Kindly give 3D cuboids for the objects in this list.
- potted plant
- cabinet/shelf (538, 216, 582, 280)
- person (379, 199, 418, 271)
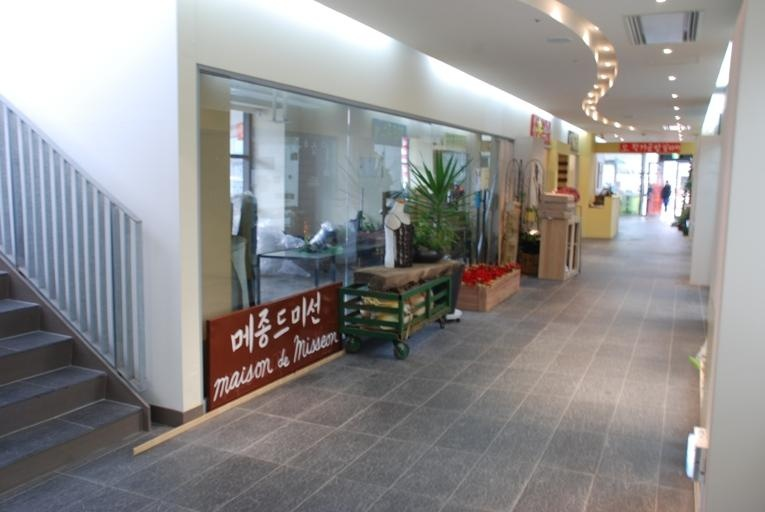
[{"bbox_3d":[0.760,-0.672,7.027,0.782,1.555,2.103,2,11,8],"label":"potted plant"},{"bbox_3d":[3.310,-0.161,9.541,0.417,1.073,1.108,3,5,29],"label":"cabinet/shelf"},{"bbox_3d":[0.177,-0.255,5.730,0.329,0.734,0.219,-2,10,-14],"label":"person"}]
